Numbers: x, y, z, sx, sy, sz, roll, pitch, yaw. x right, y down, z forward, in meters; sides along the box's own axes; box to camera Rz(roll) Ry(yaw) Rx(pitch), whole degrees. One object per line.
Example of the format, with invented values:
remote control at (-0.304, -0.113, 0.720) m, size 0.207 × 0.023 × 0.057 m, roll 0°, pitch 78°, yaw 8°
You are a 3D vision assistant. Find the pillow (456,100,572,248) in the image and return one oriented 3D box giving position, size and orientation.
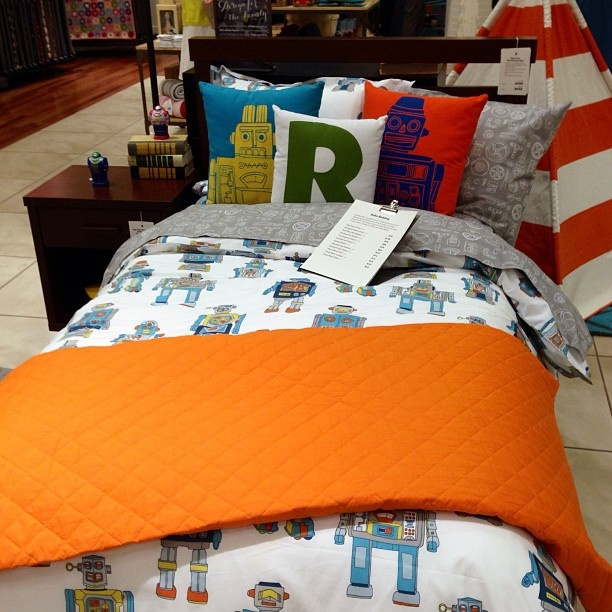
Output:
pillow at (0.772, -0.510, 2.112) m, size 0.568 × 0.442 × 0.156 m, roll 22°, pitch 12°, yaw 11°

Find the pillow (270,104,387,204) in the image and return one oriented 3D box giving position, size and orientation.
pillow at (0.078, -0.511, 1.861) m, size 0.535 × 0.362 × 0.165 m, roll 3°, pitch 7°, yaw 12°

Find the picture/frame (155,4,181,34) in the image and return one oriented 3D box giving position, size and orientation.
picture/frame at (-1.223, -2.578, 4.860) m, size 0.205 × 0.246 × 0.512 m, roll -5°, pitch 32°, yaw -11°
